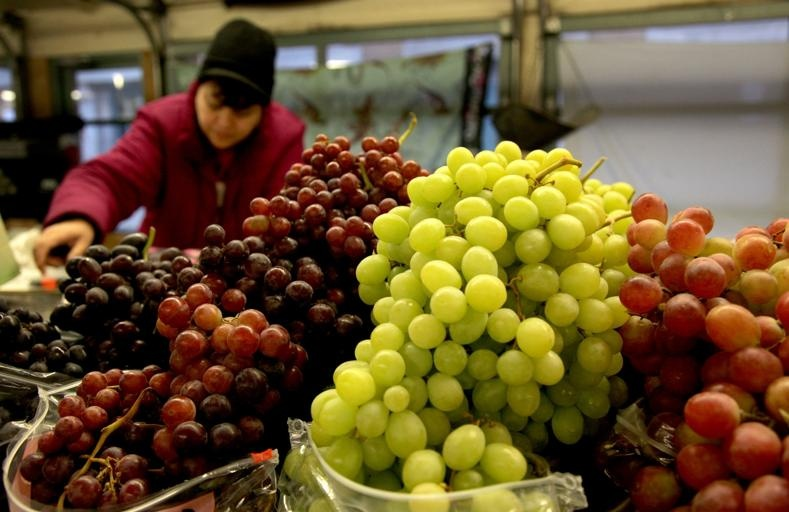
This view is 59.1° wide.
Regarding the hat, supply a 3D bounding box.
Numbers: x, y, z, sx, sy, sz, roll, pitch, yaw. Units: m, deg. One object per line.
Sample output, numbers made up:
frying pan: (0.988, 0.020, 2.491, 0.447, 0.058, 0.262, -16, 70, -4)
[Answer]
hat: (-0.567, -0.774, 2.617, 0.260, 0.213, 0.351, 8, 13, -10)
